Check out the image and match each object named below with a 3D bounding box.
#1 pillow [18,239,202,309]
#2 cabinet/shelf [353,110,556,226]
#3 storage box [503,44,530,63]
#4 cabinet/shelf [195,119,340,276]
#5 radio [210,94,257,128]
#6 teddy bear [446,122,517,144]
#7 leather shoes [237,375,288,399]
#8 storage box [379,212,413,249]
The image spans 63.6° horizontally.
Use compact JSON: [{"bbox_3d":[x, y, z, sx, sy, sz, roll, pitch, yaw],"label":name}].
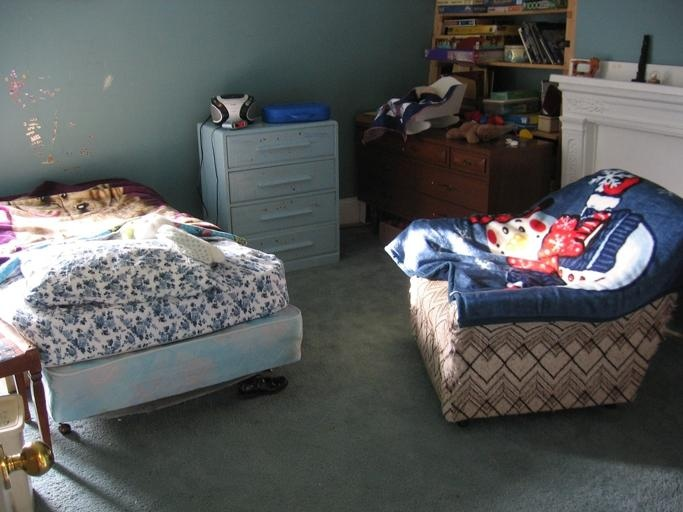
[{"bbox_3d":[-0.977,0.076,2.333,0.416,0.127,0.416,-5,14,-21],"label":"pillow"},{"bbox_3d":[0.698,-0.550,4.178,0.632,0.803,1.618,-8,22,-31],"label":"cabinet/shelf"},{"bbox_3d":[1.250,-1.440,3.937,0.145,0.090,0.146,-3,33,-3],"label":"storage box"},{"bbox_3d":[-0.500,-0.422,3.668,0.829,0.999,0.515,-11,30,-22],"label":"cabinet/shelf"},{"bbox_3d":[-0.735,-0.995,3.778,0.273,0.201,0.274,-16,25,-28],"label":"radio"},{"bbox_3d":[0.923,-0.829,3.671,0.399,0.102,0.251,-13,24,-23],"label":"teddy bear"},{"bbox_3d":[-0.391,0.633,2.700,0.177,0.054,0.109,-10,26,-17],"label":"leather shoes"},{"bbox_3d":[0.390,-0.248,4.384,0.236,0.253,0.339,-8,30,-18],"label":"storage box"}]
